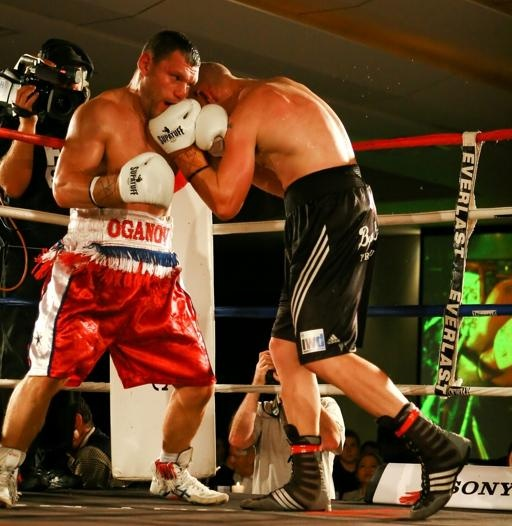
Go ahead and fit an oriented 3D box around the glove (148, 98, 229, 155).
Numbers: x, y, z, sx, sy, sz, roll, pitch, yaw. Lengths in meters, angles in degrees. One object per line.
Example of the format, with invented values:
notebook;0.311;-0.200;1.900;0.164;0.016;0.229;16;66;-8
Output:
glove;-0.189;-0.375;1.623;0.144;0.082;0.178;-33;33;-8

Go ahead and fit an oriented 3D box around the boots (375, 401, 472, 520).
boots;0.415;0.476;1.456;0.212;0.268;0.146;6;0;-35

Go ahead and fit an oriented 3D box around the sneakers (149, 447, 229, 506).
sneakers;-0.188;0.666;1.874;0.303;0.171;0.108;6;-7;13

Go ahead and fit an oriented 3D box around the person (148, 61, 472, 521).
person;0.148;0.029;1.646;0.924;1.218;0.376;6;-1;15

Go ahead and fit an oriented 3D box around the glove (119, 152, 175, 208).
glove;-0.285;-0.216;1.628;0.127;0.132;0.159;24;-12;-18
